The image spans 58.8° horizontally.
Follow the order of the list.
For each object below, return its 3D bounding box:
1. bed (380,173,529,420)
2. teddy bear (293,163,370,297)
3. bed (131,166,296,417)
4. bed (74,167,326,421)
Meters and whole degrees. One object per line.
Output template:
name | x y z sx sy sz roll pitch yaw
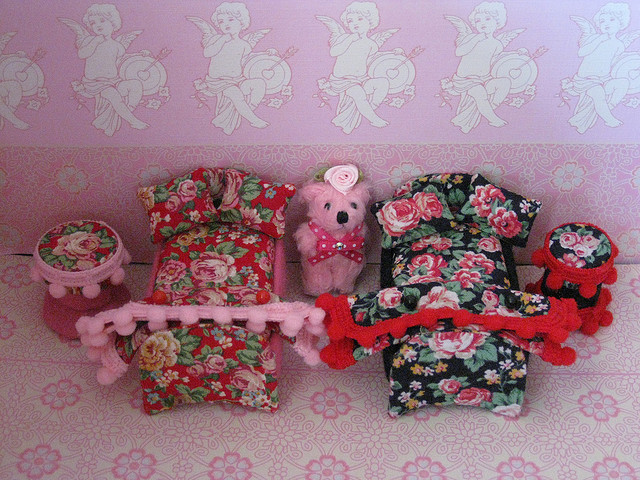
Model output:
bed | 0.746 0.280 3.318 0.922 0.572 1.353 -1 38 10
teddy bear | 0.073 -0.042 3.472 0.456 0.851 0.345 6 37 1
bed | -0.591 0.338 3.431 1.055 0.636 1.295 -1 64 -1
bed | -0.603 0.324 3.344 1.582 0.651 1.319 1 66 -1
